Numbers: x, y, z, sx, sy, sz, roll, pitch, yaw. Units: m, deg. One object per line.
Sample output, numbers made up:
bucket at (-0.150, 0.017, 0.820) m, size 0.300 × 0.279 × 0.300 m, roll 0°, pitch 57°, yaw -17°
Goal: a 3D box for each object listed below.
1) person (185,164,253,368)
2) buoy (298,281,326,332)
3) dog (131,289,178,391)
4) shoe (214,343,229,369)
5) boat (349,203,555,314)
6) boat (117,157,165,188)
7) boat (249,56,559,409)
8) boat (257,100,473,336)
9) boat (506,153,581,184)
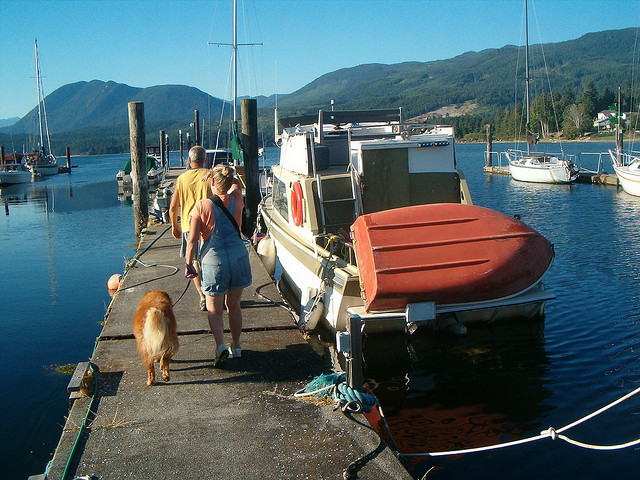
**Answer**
person at (-1.195, 0.318, 6.937) m, size 0.742 × 2.316 × 0.618 m, roll -8°, pitch 14°, yaw -22°
buoy at (-0.125, 1.054, 9.051) m, size 0.478 × 0.883 × 0.286 m, roll 1°, pitch 14°, yaw 14°
dog at (-1.820, 1.047, 6.352) m, size 0.354 × 0.764 × 1.311 m, roll -5°, pitch 23°, yaw -11°
shoe at (-1.181, 1.385, 6.906) m, size 0.127 × 0.331 × 0.153 m, roll 0°, pitch 36°, yaw -29°
boat at (1.774, 0.278, 7.880) m, size 2.164 × 1.377 × 0.657 m, roll -6°, pitch -28°, yaw -7°
boat at (-12.673, -4.258, 40.314) m, size 1.732 × 1.409 × 4.096 m, roll 0°, pitch 3°, yaw -2°
boat at (1.011, -0.377, 10.402) m, size 2.898 × 3.518 × 8.211 m, roll -6°, pitch 27°, yaw -12°
boat at (0.488, -1.040, 11.242) m, size 2.311 × 2.856 × 6.155 m, roll -5°, pitch 13°, yaw -12°
boat at (12.348, -3.887, 32.852) m, size 1.479 × 1.278 × 4.661 m, roll 2°, pitch 11°, yaw -22°
